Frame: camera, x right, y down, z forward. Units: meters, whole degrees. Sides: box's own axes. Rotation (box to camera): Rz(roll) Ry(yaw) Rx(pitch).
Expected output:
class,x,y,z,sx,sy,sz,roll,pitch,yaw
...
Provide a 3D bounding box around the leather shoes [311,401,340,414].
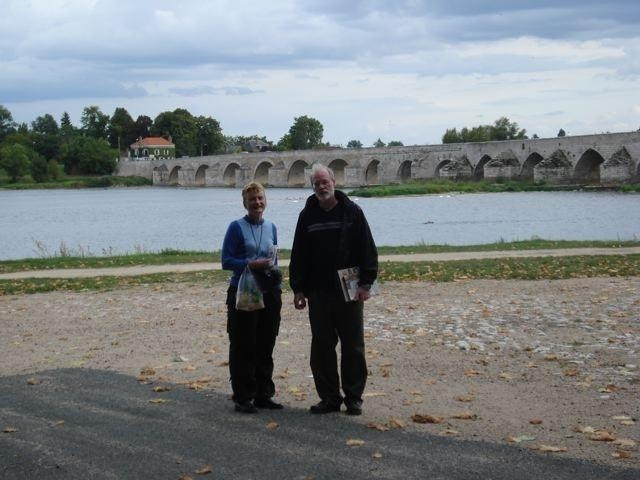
class,x,y,z,sx,sy,sz,roll,pitch,yaw
leather shoes,0.061,1.717,7.507,0.296,0.111,0.112,7,-12,-26

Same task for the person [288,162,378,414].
class,x,y,z,sx,sy,sz,roll,pitch,yaw
person,0.125,0.505,7.612,0.909,2.558,0.744,1,9,12

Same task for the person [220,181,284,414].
class,x,y,z,sx,sy,sz,roll,pitch,yaw
person,-0.710,0.579,7.652,0.607,2.319,0.825,-2,8,-4

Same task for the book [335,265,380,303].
class,x,y,z,sx,sy,sz,roll,pitch,yaw
book,0.315,0.452,7.533,0.391,0.355,0.098,-4,3,-15

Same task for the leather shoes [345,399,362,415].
class,x,y,z,sx,sy,sz,roll,pitch,yaw
leather shoes,0.347,1.703,7.466,0.180,0.125,0.209,-1,8,1
